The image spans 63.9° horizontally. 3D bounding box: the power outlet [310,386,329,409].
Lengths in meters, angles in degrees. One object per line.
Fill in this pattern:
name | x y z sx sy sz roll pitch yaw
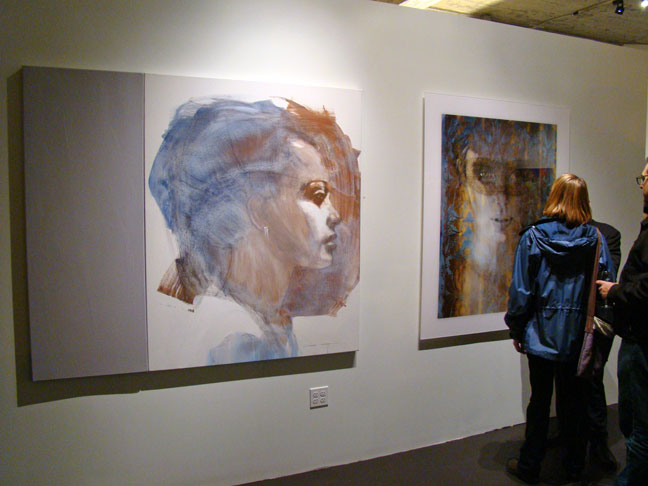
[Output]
power outlet | -0.046 1.101 3.769 0.149 0.173 0.020 -1 2 -25
